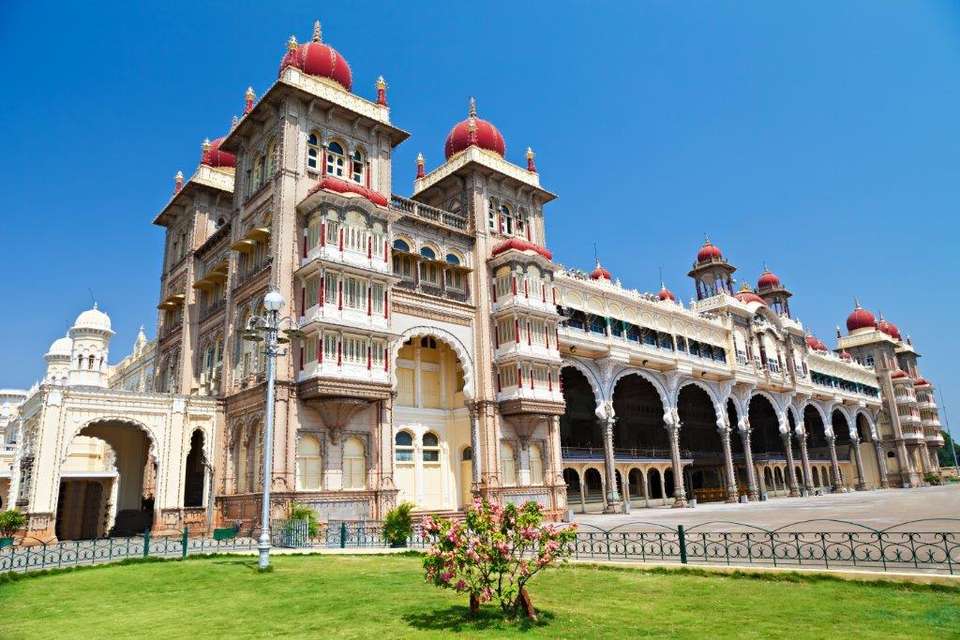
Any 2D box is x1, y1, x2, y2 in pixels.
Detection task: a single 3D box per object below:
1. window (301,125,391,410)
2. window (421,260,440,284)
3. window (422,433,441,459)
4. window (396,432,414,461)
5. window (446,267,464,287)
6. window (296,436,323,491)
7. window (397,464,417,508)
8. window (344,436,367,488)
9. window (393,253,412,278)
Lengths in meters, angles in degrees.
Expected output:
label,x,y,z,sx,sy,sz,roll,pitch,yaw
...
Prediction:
label,x,y,z,sx,sy,sz,roll,pitch,yaw
window,-6.671,-1.679,33.244,4.643,11.075,2.828,6,-22,-19
window,-2.870,-2.797,38.589,1.244,1.400,0.143,10,-21,-43
window,-2.799,7.273,38.399,0.187,1.367,1.261,-24,-29,31
window,-4.177,7.076,37.234,0.191,1.766,1.276,-26,-33,35
window,-1.487,-2.573,39.540,1.069,1.215,0.096,10,-19,-44
window,-8.200,6.886,32.326,1.256,2.460,0.538,6,-22,-19
window,-3.898,8.926,35.659,0.138,2.277,2.011,-18,-21,30
window,-6.233,7.157,33.535,1.255,2.442,0.412,17,-27,-39
window,-4.330,-3.058,37.380,1.372,1.545,0.119,10,-18,-44
